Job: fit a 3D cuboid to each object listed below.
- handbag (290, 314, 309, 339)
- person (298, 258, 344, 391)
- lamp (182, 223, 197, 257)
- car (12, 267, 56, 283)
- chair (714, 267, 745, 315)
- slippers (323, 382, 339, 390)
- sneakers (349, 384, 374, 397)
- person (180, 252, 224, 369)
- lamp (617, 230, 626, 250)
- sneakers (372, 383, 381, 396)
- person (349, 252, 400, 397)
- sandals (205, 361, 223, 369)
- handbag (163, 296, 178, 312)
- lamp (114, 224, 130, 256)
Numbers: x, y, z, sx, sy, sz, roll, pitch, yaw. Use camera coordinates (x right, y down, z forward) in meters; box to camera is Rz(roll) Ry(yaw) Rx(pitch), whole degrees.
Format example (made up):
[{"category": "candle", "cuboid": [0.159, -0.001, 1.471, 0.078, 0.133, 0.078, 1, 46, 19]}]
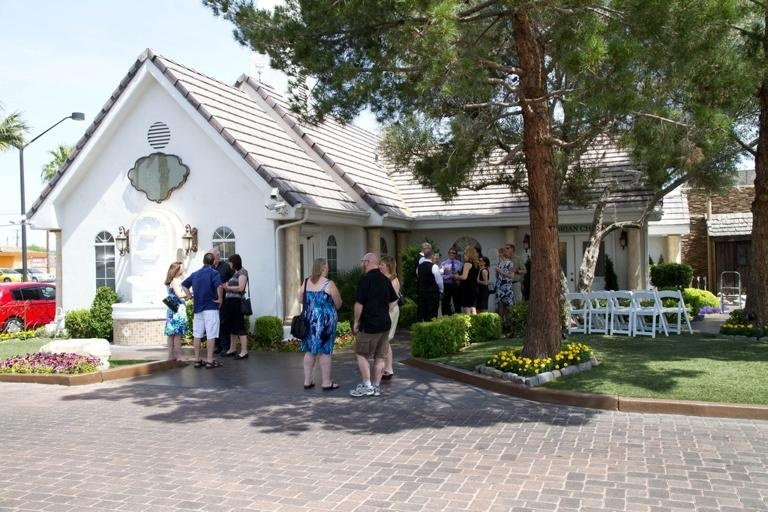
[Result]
[{"category": "handbag", "cuboid": [-1.603, 1.292, 12.338, 0.300, 0.466, 0.177, -1, -5, -13]}, {"category": "person", "cuboid": [-1.249, 1.274, 12.564, 0.777, 2.474, 0.824, -1, -5, -8]}, {"category": "lamp", "cuboid": [-5.656, -0.531, 18.937, 0.444, 0.883, 0.305, -2, -5, -3]}, {"category": "car", "cuboid": [-25.350, 1.224, 47.102, 2.201, 0.804, 1.071, -4, -3, 19]}, {"category": "chair", "cuboid": [15.086, 1.414, 28.310, 1.264, 2.449, 1.385, -2, -6, 19]}, {"category": "slippers", "cuboid": [-1.046, 2.469, 12.661, 0.239, 0.084, 0.127, -1, 1, -16]}, {"category": "sneakers", "cuboid": [-0.404, 2.450, 12.213, 0.500, 0.258, 0.197, 1, -4, 1]}, {"category": "person", "cuboid": [-4.149, 1.192, 14.857, 0.851, 2.558, 0.963, 0, -5, -22]}, {"category": "lamp", "cuboid": [8.040, -0.599, 21.841, 0.217, 0.643, 0.538, -3, -5, 12]}, {"category": "sneakers", "cuboid": [-0.154, 2.435, 12.174, 0.137, 0.198, 0.427, 0, -10, 0]}, {"category": "person", "cuboid": [-0.238, 1.224, 12.203, 0.871, 2.640, 0.484, -2, -5, -5]}, {"category": "sandals", "cuboid": [-3.872, 2.414, 14.834, 0.321, 0.127, 0.176, -2, 2, -19]}, {"category": "handbag", "cuboid": [-4.812, 1.040, 14.747, 0.264, 0.153, 0.356, 36, -23, 20]}, {"category": "lamp", "cuboid": [-7.883, -0.503, 19.556, 0.445, 0.844, 0.227, -4, -5, 24]}]
